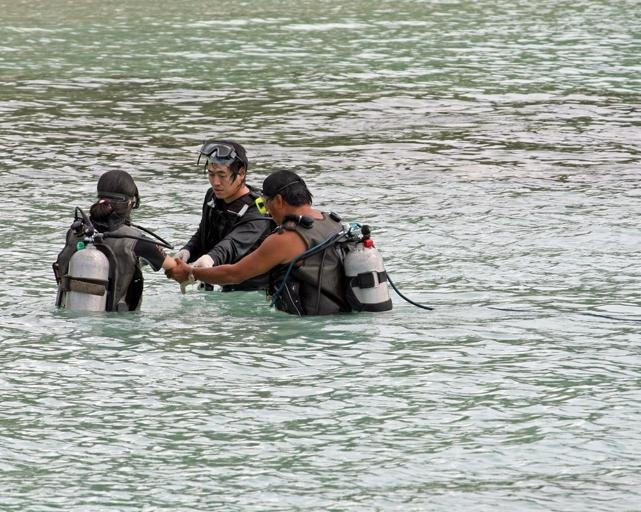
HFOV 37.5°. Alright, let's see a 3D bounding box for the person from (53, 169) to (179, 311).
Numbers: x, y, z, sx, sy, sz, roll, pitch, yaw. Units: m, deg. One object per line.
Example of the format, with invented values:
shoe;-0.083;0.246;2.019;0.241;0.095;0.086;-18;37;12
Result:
person;-2.066;-0.132;9.452;1.019;1.460;0.642;0;12;-17
